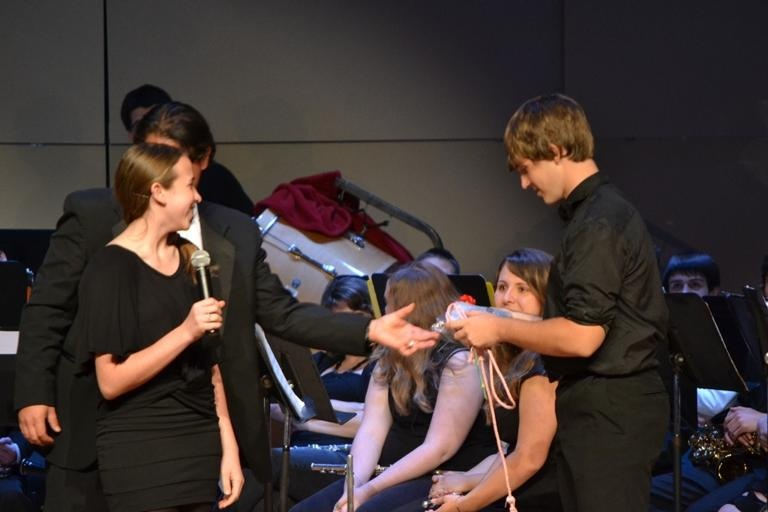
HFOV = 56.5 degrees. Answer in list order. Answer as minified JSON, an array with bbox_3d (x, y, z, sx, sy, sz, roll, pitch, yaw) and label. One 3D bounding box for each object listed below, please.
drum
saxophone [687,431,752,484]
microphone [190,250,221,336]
[{"bbox_3d":[-0.562,-0.056,6.066,0.951,0.777,0.907,-2,17,-16],"label":"drum"},{"bbox_3d":[2.149,1.223,4.456,0.390,0.160,0.279,-22,-12,24],"label":"saxophone"},{"bbox_3d":[-0.700,0.152,2.841,0.112,0.319,0.132,0,11,-9],"label":"microphone"}]
